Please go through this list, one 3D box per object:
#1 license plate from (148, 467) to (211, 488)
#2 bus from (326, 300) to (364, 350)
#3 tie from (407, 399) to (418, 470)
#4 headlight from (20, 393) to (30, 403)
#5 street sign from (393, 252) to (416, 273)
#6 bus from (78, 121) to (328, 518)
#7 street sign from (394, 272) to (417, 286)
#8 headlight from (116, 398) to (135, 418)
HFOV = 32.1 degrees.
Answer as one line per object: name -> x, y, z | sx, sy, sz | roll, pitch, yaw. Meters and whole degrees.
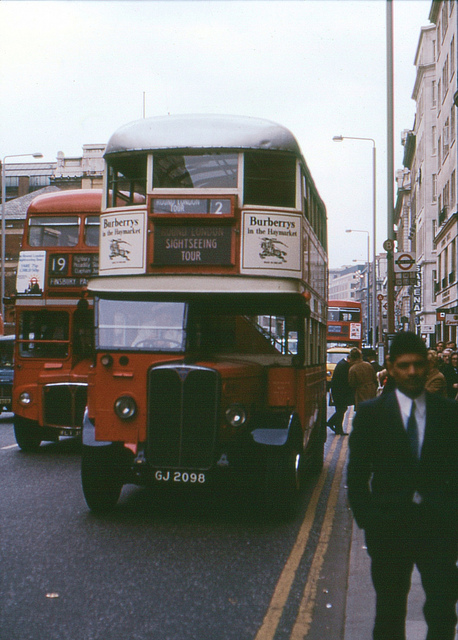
license plate -> -0.481, 1.509, 7.613 | 0.612, 0.184, 0.066 | 1, -3, 6
bus -> 5.798, 0.188, 40.008 | 1.794, 2.346, 1.264 | 1, -3, -3
tie -> 0.783, 0.495, 3.381 | 0.049, 0.278, 0.030 | 2, -3, -16
headlight -> -3.357, 1.279, 13.036 | 0.181, 0.151, 0.063 | 0, -3, 20
street sign -> 3.853, -1.267, 17.515 | 0.454, 0.496, 0.557 | 0, -3, 10
bus -> -0.290, 0.001, 10.414 | 1.648, 3.070, 5.462 | -1, -3, 8
street sign -> 3.899, -0.909, 17.494 | 0.409, 0.316, 0.726 | -1, -4, 29
headlight -> -1.036, 0.878, 7.926 | 0.192, 0.191, 0.055 | -1, -3, 27
